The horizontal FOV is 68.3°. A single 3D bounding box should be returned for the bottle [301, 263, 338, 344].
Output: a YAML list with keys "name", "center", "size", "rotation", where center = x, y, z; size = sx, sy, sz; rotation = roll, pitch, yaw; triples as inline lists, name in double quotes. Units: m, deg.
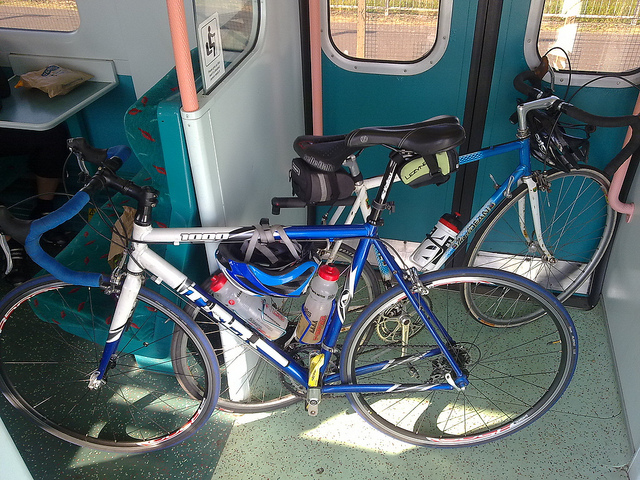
- name: "bottle"
  center: [-0.006, 0.318, 2.376]
  size: [0.134, 0.473, 0.141]
  rotation: [11, 30, -6]

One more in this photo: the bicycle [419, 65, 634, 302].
- name: "bicycle"
  center: [1.293, -0.398, 2.882]
  size: [1.381, 1.022, 0.587]
  rotation: [18, 56, 14]

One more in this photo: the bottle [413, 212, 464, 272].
- name: "bottle"
  center: [0.634, 0.026, 2.479]
  size: [0.141, 0.142, 0.367]
  rotation: [28, 79, 7]
